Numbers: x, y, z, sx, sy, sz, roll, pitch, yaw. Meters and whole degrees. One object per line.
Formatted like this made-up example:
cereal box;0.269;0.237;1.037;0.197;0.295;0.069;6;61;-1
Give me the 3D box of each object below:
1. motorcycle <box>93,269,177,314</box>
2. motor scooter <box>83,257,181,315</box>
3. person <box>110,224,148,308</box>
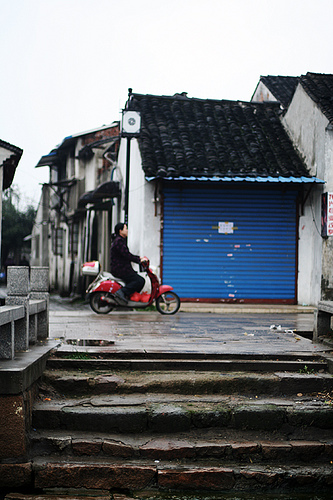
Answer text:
motorcycle;-0.534;0.598;13.345;1.451;0.996;0.826;2;2;-5
motor scooter;-0.589;0.636;13.699;1.531;1.060;0.851;-1;3;-7
person;-0.631;0.231;13.153;0.578;1.321;0.467;3;-7;-5
